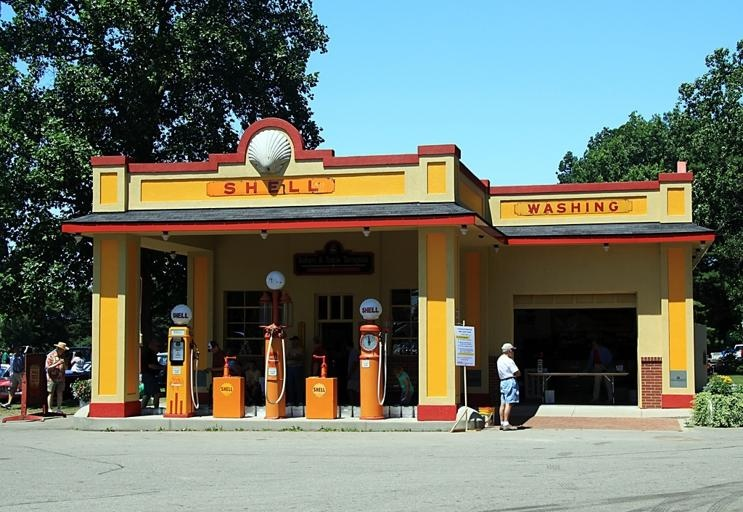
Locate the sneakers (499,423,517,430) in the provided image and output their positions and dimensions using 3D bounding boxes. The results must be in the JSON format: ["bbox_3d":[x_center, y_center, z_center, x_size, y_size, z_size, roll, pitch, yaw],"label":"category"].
[{"bbox_3d":[3.766,4.698,22.725,0.401,0.161,0.203,3,-4,-30],"label":"sneakers"}]
